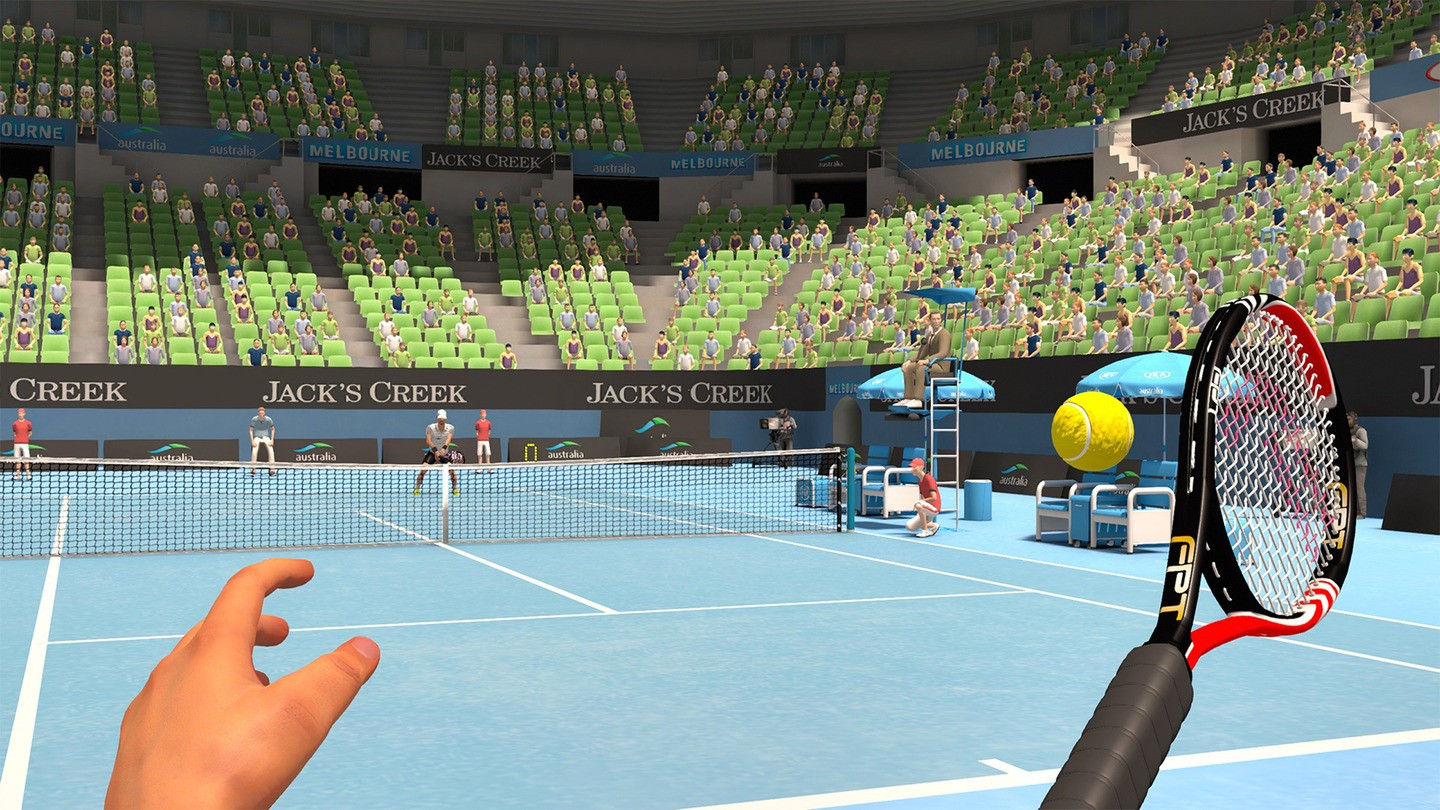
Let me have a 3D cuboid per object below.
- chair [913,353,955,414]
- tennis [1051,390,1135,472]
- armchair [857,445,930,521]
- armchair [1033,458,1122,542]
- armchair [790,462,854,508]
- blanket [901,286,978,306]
[{"bbox_3d":[4.265,-0.474,27.112,1.081,1.313,0.820,1,0,9],"label":"chair"},{"bbox_3d":[6.639,0.498,23.987,1.504,1.295,1.393,9,-5,-9],"label":"tennis"},{"bbox_3d":[3.588,1.633,28.331,1.102,1.196,1.025,-5,5,-29],"label":"armchair"},{"bbox_3d":[6.687,1.802,25.327,1.419,1.429,1.281,1,-3,-14],"label":"armchair"},{"bbox_3d":[2.165,1.712,28.709,1.147,0.962,1.034,1,-4,-4],"label":"armchair"},{"bbox_3d":[4.408,-2.092,26.583,1.076,0.282,1.725,1,3,13],"label":"blanket"}]
